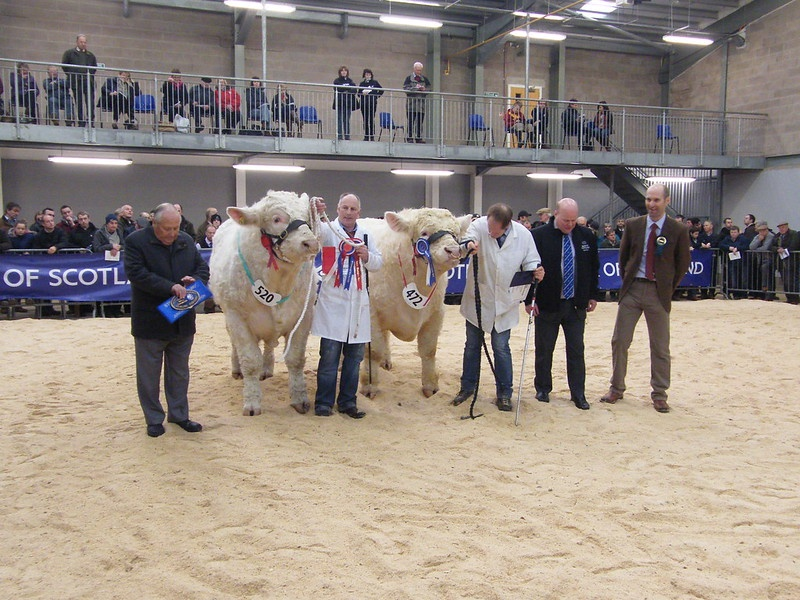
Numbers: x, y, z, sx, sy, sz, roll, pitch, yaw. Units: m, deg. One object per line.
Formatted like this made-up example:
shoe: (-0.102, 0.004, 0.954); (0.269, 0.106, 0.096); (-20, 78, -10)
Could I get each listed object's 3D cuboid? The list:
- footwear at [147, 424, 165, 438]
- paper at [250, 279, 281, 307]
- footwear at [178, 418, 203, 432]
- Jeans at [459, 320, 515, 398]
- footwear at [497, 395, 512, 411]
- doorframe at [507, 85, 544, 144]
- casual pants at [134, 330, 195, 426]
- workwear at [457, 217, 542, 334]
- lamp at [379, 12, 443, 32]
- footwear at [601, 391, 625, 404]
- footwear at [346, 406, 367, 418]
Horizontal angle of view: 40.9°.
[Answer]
footwear: (-3.698, 1.991, 16.277); (0.144, 0.269, 0.258); (6, -12, -32)
paper: (-2.071, -0.100, 16.466); (0.307, 0.443, 0.089); (-39, 8, 8)
footwear: (-3.202, 1.906, 16.424); (0.367, 0.161, 0.166); (1, 15, 14)
Jeans: (1.409, 0.884, 17.475); (0.788, 0.427, 2.053); (2, 44, 3)
footwear: (1.687, 1.658, 17.229); (0.263, 0.230, 0.217); (1, 7, 3)
doorframe: (3.653, -5.277, 30.176); (0.776, 1.700, 0.885); (-6, 5, -12)
casual pants: (-3.575, 1.005, 16.255); (0.812, 2.021, 0.542); (-4, 20, -23)
workwear: (1.558, -0.429, 17.037); (1.334, 1.790, 0.934); (4, 9, -11)
lamp: (0.267, -7.926, 30.342); (1.280, 0.157, 0.446); (5, 12, -38)
footwear: (3.492, 1.605, 17.629); (0.410, 0.188, 0.166); (-2, 17, -22)
footwear: (-0.695, 1.791, 16.927); (0.242, 0.164, 0.105); (25, -13, 21)
